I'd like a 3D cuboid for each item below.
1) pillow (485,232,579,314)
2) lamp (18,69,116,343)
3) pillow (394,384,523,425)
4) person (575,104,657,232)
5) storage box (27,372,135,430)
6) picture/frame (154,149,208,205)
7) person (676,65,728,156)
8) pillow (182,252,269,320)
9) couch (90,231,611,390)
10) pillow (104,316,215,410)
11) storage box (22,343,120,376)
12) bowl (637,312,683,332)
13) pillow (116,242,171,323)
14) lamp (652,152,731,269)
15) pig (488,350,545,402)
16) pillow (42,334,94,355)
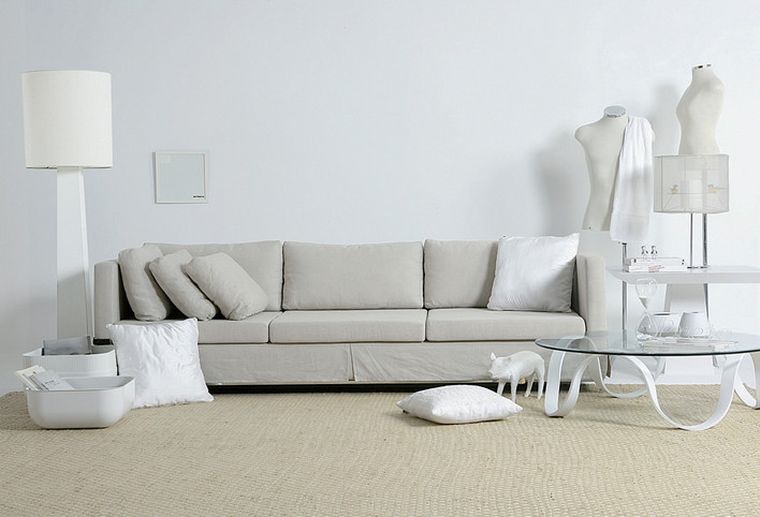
[{"bbox_3d":[1.180,0.102,4.948,0.696,0.601,0.467,4,4,9],"label":"pillow"},{"bbox_3d":[-2.284,-0.268,4.701,0.540,2.014,0.590,0,4,-28],"label":"lamp"},{"bbox_3d":[0.505,0.941,4.145,0.780,0.187,0.283,-1,10,1],"label":"pillow"},{"bbox_3d":[1.940,-0.731,5.423,0.628,1.075,0.350,5,16,31],"label":"person"},{"bbox_3d":[-1.890,0.909,4.122,0.595,0.278,0.301,-1,10,0],"label":"storage box"},{"bbox_3d":[-1.743,-0.738,5.613,0.493,0.456,0.182,0,0,-4],"label":"picture/frame"},{"bbox_3d":[2.611,-1.222,5.302,0.324,0.709,0.216,7,14,35],"label":"person"},{"bbox_3d":[-1.124,0.196,4.779,0.511,0.186,0.502,39,15,-14],"label":"pillow"},{"bbox_3d":[-0.063,0.507,7.500,6.006,1.894,1.897,0,-1,-2],"label":"couch"},{"bbox_3d":[-1.532,0.741,4.509,0.640,0.568,0.189,-2,-13,-18],"label":"pillow"},{"bbox_3d":[-2.025,0.686,4.396,0.560,0.185,0.478,3,2,6],"label":"storage box"},{"bbox_3d":[1.776,0.404,4.118,0.181,0.085,0.127,-1,-1,3],"label":"bowl"},{"bbox_3d":[-1.745,0.170,4.802,0.354,0.538,0.318,5,5,-7],"label":"pillow"},{"bbox_3d":[2.441,-0.370,5.111,0.374,0.881,0.415,1,3,1],"label":"lamp"},{"bbox_3d":[0.917,0.794,4.397,0.455,0.307,0.190,-1,2,-28],"label":"pig"},{"bbox_3d":[-2.137,0.597,4.446,0.218,0.076,0.168,-2,-5,-4],"label":"pillow"}]
